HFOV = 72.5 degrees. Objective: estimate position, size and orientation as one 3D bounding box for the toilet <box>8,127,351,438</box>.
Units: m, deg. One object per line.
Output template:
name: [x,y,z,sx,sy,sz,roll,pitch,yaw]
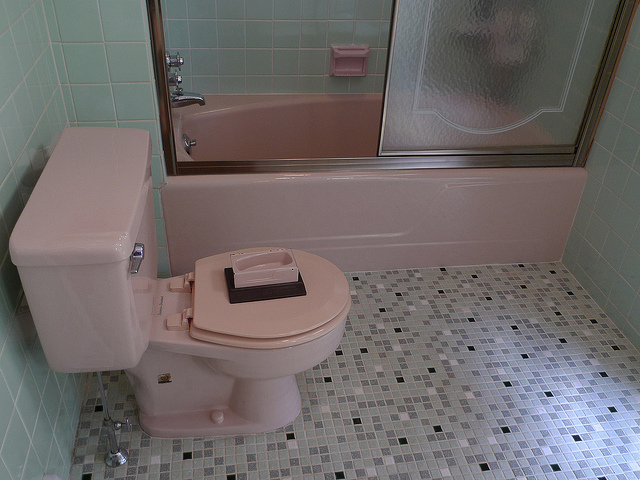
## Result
toilet: [-0.307,-0.036,1.801,1.107,1.234,0.897,-5,41,-13]
